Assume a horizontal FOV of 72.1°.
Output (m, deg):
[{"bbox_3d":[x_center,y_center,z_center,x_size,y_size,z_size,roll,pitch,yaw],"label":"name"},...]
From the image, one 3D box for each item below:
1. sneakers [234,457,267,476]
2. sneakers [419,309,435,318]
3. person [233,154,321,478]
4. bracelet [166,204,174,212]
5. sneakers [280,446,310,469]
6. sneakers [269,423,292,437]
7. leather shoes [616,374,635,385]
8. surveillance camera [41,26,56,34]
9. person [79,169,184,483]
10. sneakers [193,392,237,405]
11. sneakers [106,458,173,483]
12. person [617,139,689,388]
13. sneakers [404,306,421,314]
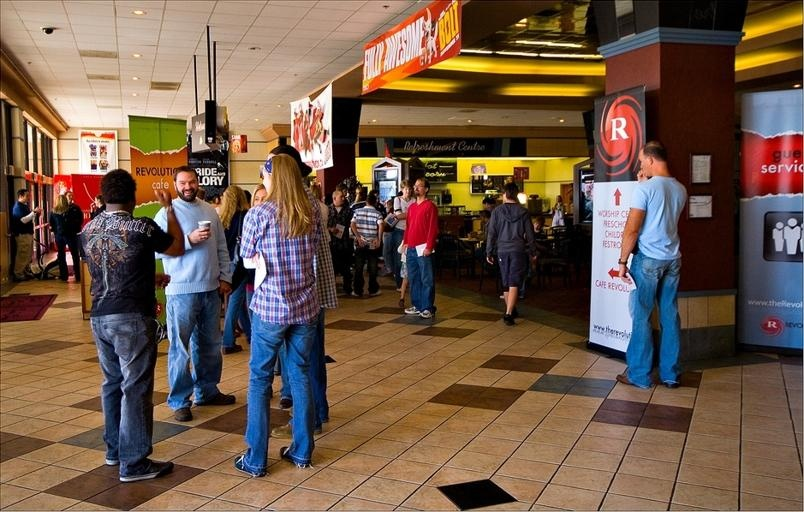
[{"bbox_3d":[-1.153,1.580,4.209,0.117,0.102,0.274,-7,17,-44],"label":"sneakers"},{"bbox_3d":[0.360,0.891,8.480,0.226,0.113,0.195,1,10,12],"label":"sneakers"},{"bbox_3d":[-0.934,0.447,4.151,0.739,2.332,0.372,-4,10,-15],"label":"person"},{"bbox_3d":[-2.019,-0.402,4.845,0.052,0.033,0.047,-4,-13,13],"label":"bracelet"},{"bbox_3d":[-0.831,1.553,4.329,0.104,0.111,0.296,0,2,-41],"label":"sneakers"},{"bbox_3d":[-1.018,1.469,4.687,0.188,0.066,0.080,8,-4,-10],"label":"sneakers"},{"bbox_3d":[2.254,1.256,5.632,0.059,0.049,0.131,4,11,-27],"label":"leather shoes"},{"bbox_3d":[-6.188,-3.907,9.750,0.116,0.026,0.110,-10,-8,21],"label":"surveillance camera"},{"bbox_3d":[-2.059,0.482,4.323,0.675,2.253,0.851,-4,10,-14],"label":"person"},{"bbox_3d":[-1.749,1.365,5.250,0.399,0.139,0.134,-3,6,-17],"label":"sneakers"},{"bbox_3d":[-1.951,1.591,4.157,0.423,0.142,0.149,-2,2,-38],"label":"sneakers"},{"bbox_3d":[2.485,0.263,5.534,0.595,2.042,0.521,1,10,16],"label":"person"},{"bbox_3d":[0.169,0.872,8.682,0.230,0.088,0.091,2,-3,15],"label":"sneakers"}]
